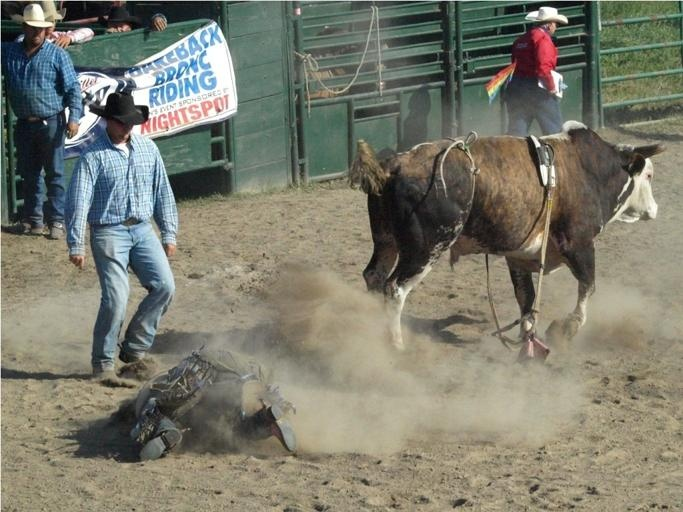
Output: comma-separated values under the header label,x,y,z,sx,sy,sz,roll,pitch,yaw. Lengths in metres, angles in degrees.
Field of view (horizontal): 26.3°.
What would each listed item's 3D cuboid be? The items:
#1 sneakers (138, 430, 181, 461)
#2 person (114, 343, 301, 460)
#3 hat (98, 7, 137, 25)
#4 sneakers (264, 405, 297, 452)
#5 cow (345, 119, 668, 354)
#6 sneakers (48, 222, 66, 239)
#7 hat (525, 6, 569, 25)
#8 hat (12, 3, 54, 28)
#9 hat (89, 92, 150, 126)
label,x,y,z,sx,sy,sz,roll,pitch,yaw
sneakers,-1.616,1.696,13.114,0.428,0.213,0.105,-29,2,2
person,-1.398,1.312,13.630,1.064,0.650,1.724,-17,22,29
hat,-2.755,-2.943,18.002,0.332,0.168,0.421,0,8,6
sneakers,-0.534,1.563,13.217,0.247,0.428,0.167,8,17,41
cow,1.638,-0.221,14.826,3.195,2.207,0.753,-9,14,-20
sneakers,-3.240,-0.270,16.557,0.155,0.216,0.209,2,-7,-15
hat,2.676,-3.044,18.542,0.431,0.158,0.388,-8,18,-28
hat,-3.390,-2.593,15.942,0.280,0.163,0.367,0,6,-30
hat,-2.131,-1.402,13.863,0.418,0.173,0.358,29,30,37
